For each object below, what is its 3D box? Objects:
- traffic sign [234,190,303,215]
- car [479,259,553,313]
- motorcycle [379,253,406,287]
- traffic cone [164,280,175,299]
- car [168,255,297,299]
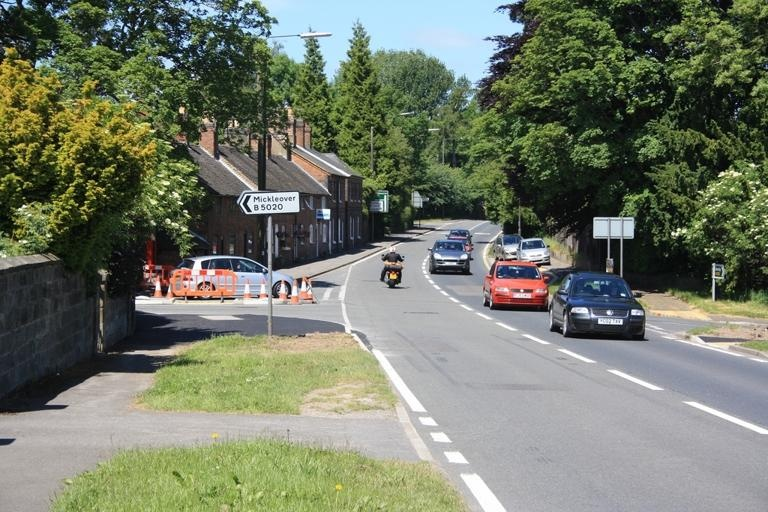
[{"bbox_3d":[-2.929,-1.352,20.381,1.354,0.653,1.448,0,1,-19],"label":"traffic sign"},{"bbox_3d":[5.080,1.133,31.000,2.341,1.803,1.900,1,1,14],"label":"car"},{"bbox_3d":[0.420,0.664,41.021,0.994,1.814,2.350,1,1,-1],"label":"motorcycle"},{"bbox_3d":[-8.752,1.438,33.003,0.554,0.823,0.577,2,2,12],"label":"traffic cone"},{"bbox_3d":[-6.325,0.793,34.795,4.387,1.631,2.130,-1,4,-30],"label":"car"}]
